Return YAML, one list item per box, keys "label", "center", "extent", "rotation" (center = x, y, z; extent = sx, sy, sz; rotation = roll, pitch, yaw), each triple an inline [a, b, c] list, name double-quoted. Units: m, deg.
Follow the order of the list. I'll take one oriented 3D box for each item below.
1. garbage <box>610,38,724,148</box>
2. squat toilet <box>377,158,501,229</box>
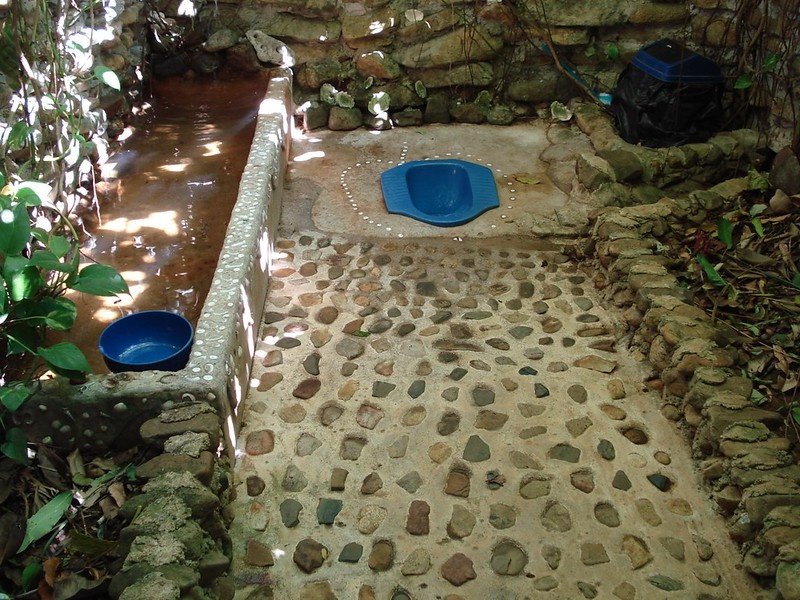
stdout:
- label: "garbage"
  center: [2.388, -1.881, 4.861]
  extent: [0.844, 0.695, 0.794]
  rotation: [-23, 50, -12]
- label: "squat toilet"
  center: [0.341, -0.890, 4.819]
  extent: [0.980, 0.295, 0.954]
  rotation: [-3, 42, -2]
